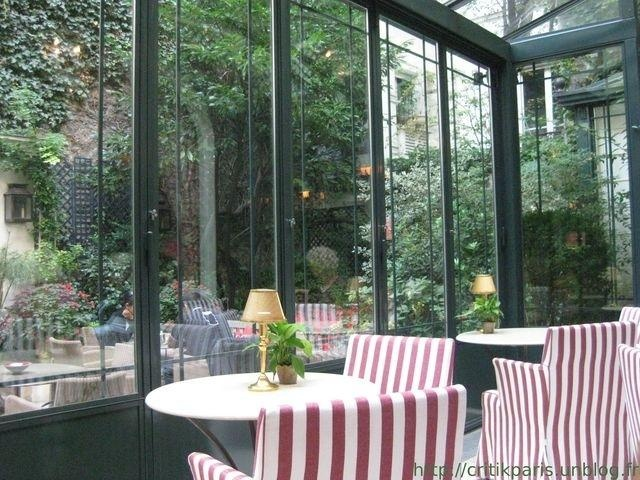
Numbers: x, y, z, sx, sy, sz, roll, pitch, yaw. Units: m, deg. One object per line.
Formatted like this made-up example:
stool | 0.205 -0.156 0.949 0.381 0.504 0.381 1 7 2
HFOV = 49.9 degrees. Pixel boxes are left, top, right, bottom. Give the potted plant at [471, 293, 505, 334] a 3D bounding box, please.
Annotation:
potted plant | 1.464 0.644 5.997 0.301 0.309 0.266 7 -8 6

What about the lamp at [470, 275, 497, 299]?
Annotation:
lamp | 1.453 0.395 6.098 0.200 0.233 0.206 -3 1 26

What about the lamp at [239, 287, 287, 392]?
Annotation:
lamp | -0.335 0.585 4.111 0.247 0.587 0.359 -1 -4 -4
